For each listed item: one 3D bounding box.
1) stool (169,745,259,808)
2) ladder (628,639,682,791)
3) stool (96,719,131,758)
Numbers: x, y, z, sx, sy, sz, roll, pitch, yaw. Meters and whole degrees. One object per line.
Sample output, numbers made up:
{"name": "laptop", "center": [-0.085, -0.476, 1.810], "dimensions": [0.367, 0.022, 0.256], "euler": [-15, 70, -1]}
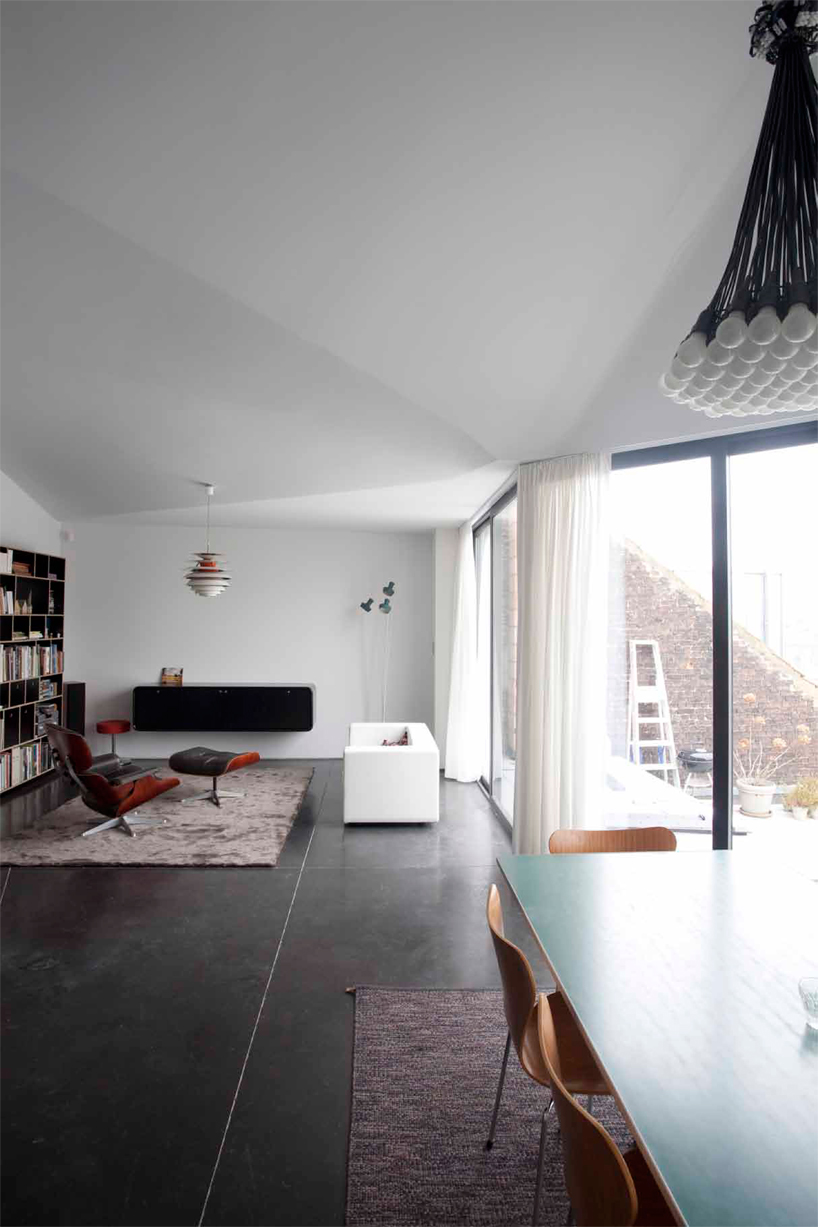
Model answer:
{"name": "stool", "center": [-1.475, 1.343, 6.436], "dimensions": [0.578, 0.339, 0.395], "euler": [-2, -4, 38]}
{"name": "ladder", "center": [1.247, 0.501, 4.374], "dimensions": [0.078, 0.540, 0.366], "euler": [0, 0, -20]}
{"name": "stool", "center": [-2.874, 1.220, 8.313], "dimensions": [0.274, 0.486, 0.293], "euler": [5, 8, 9]}
